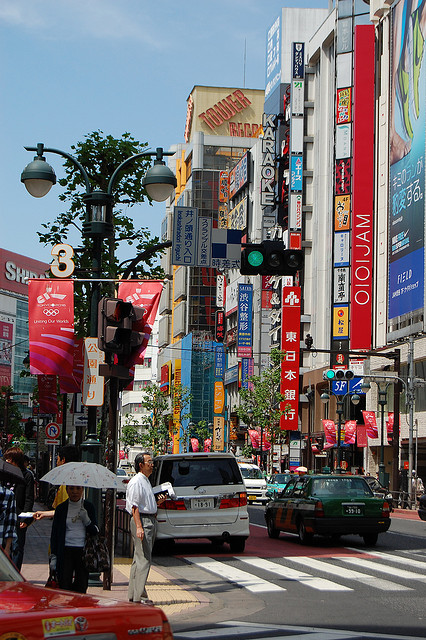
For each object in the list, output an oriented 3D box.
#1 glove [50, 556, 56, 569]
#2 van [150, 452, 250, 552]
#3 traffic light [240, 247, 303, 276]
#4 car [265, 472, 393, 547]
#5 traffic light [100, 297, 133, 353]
[{"bbox_3d":[-1.335,2.016,7.729,0.040,0.087,0.059,6,12,27],"label":"glove"},{"bbox_3d":[-0.165,3.070,15.948,1.194,1.148,2.181,0,-2,-7],"label":"van"},{"bbox_3d":[0.813,-0.849,13.533,0.649,0.354,0.484,1,-4,-7],"label":"traffic light"},{"bbox_3d":[2.104,3.765,18.350,1.226,1.007,2.681,1,-4,-14],"label":"car"},{"bbox_3d":[-1.128,0.052,10.724,0.399,0.628,0.384,1,-9,-7],"label":"traffic light"}]
